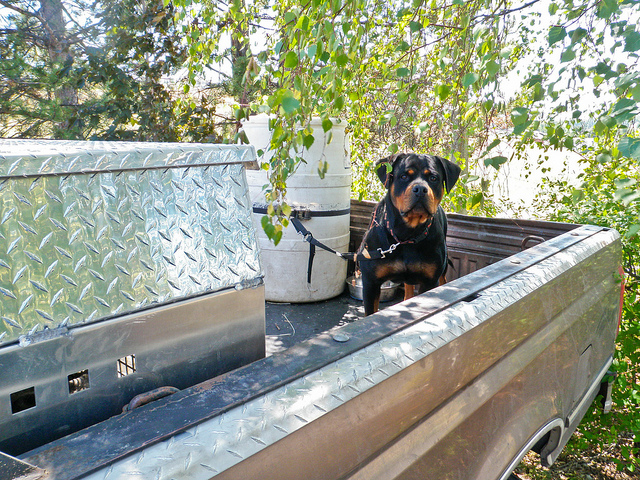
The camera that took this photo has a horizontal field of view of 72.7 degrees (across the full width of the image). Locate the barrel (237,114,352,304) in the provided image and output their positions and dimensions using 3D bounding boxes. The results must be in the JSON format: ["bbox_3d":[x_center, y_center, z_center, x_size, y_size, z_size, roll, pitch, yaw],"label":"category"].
[{"bbox_3d":[-0.225,-0.340,4.456,1.101,1.754,1.153,0,17,0],"label":"barrel"}]
